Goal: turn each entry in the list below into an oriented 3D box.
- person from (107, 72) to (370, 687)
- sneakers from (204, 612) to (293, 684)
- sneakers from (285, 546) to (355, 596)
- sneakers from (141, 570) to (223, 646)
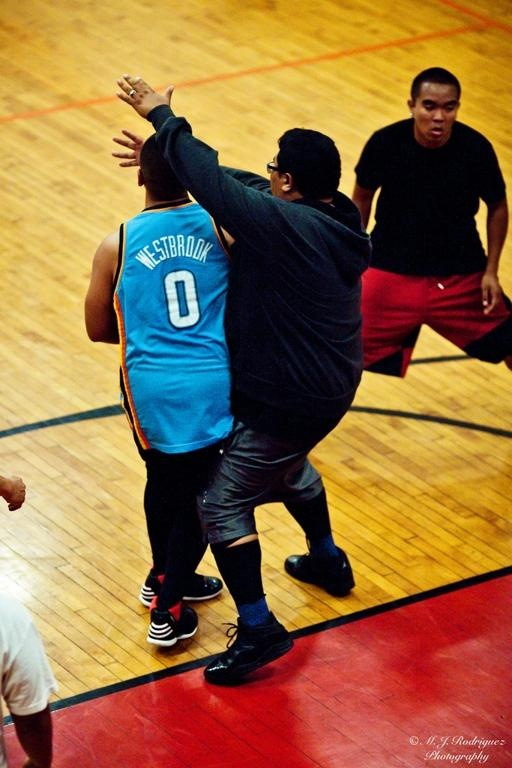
[{"bbox_3d":[-0.001,0.064,2.062,0.465,1.560,0.674,19,31,40],"label":"person"},{"bbox_3d":[-0.019,0.762,2.108,0.273,0.173,0.089,-29,16,0],"label":"sneakers"},{"bbox_3d":[0.220,0.615,2.574,0.107,0.141,0.277,-17,19,-39],"label":"sneakers"},{"bbox_3d":[-0.249,0.690,2.401,0.128,0.145,0.375,14,24,28],"label":"sneakers"}]
